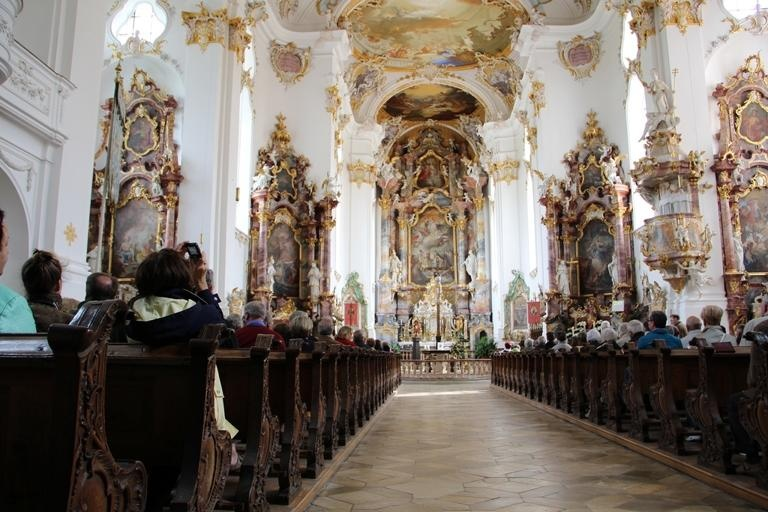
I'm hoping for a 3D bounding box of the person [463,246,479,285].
[{"bbox_3d":[3.987,0.452,29.599,0.502,1.608,1.303,-1,-5,-4],"label":"person"}]

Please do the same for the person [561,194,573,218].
[{"bbox_3d":[5.482,-1.452,19.297,0.351,0.709,0.153,-4,-6,23],"label":"person"}]

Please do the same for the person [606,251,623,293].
[{"bbox_3d":[6.374,0.442,17.828,0.245,1.024,0.810,-2,-5,7],"label":"person"}]

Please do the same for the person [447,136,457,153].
[{"bbox_3d":[3.346,-5.320,31.684,0.446,0.790,0.349,2,-7,-37],"label":"person"}]

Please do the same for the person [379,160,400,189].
[{"bbox_3d":[0.298,-3.699,30.074,0.890,1.163,0.429,-4,13,-20],"label":"person"}]

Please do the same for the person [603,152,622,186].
[{"bbox_3d":[6.446,-2.413,18.296,0.504,0.973,0.597,-3,-5,13],"label":"person"}]

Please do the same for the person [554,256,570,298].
[{"bbox_3d":[5.312,0.646,19.260,0.338,1.079,0.303,-4,-6,24],"label":"person"}]

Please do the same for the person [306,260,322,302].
[{"bbox_3d":[-2.093,0.789,19.706,0.455,1.238,0.235,-1,-5,-5],"label":"person"}]

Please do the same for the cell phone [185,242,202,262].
[{"bbox_3d":[-1.735,-0.062,5.953,0.147,0.197,0.047,-1,19,22],"label":"cell phone"}]
